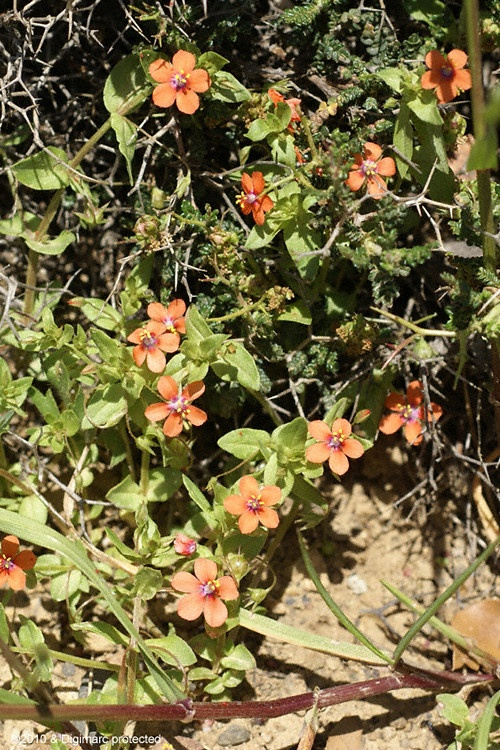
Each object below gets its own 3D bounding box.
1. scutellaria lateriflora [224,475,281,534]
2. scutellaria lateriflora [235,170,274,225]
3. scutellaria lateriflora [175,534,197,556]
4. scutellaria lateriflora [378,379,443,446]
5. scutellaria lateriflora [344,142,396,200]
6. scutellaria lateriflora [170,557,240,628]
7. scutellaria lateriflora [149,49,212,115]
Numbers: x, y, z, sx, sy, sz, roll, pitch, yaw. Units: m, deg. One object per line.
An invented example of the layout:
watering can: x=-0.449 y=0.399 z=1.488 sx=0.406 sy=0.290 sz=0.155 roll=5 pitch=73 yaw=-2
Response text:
scutellaria lateriflora: x=0.007 y=0.344 z=1.786 sx=0.149 sy=0.134 sz=0.082 roll=2 pitch=12 yaw=2
scutellaria lateriflora: x=0.008 y=-0.506 z=1.920 sx=0.050 sy=0.139 sz=0.137 roll=-11 pitch=-13 yaw=-36
scutellaria lateriflora: x=-0.185 y=0.483 z=1.905 sx=0.070 sy=0.054 sz=0.025 roll=30 pitch=-33 yaw=-22
scutellaria lateriflora: x=0.545 y=0.132 z=2.213 sx=0.172 sy=0.252 sz=0.283 roll=8 pitch=13 yaw=26
scutellaria lateriflora: x=0.350 y=-0.565 z=1.902 sx=0.169 sy=0.173 sz=0.047 roll=1 pitch=-4 yaw=-12
scutellaria lateriflora: x=-0.115 y=0.565 z=1.770 sx=0.164 sy=0.153 sz=0.128 roll=-4 pitch=13 yaw=-28
scutellaria lateriflora: x=-0.203 y=-0.781 z=1.835 sx=0.168 sy=0.185 sz=0.071 roll=-3 pitch=8 yaw=7
